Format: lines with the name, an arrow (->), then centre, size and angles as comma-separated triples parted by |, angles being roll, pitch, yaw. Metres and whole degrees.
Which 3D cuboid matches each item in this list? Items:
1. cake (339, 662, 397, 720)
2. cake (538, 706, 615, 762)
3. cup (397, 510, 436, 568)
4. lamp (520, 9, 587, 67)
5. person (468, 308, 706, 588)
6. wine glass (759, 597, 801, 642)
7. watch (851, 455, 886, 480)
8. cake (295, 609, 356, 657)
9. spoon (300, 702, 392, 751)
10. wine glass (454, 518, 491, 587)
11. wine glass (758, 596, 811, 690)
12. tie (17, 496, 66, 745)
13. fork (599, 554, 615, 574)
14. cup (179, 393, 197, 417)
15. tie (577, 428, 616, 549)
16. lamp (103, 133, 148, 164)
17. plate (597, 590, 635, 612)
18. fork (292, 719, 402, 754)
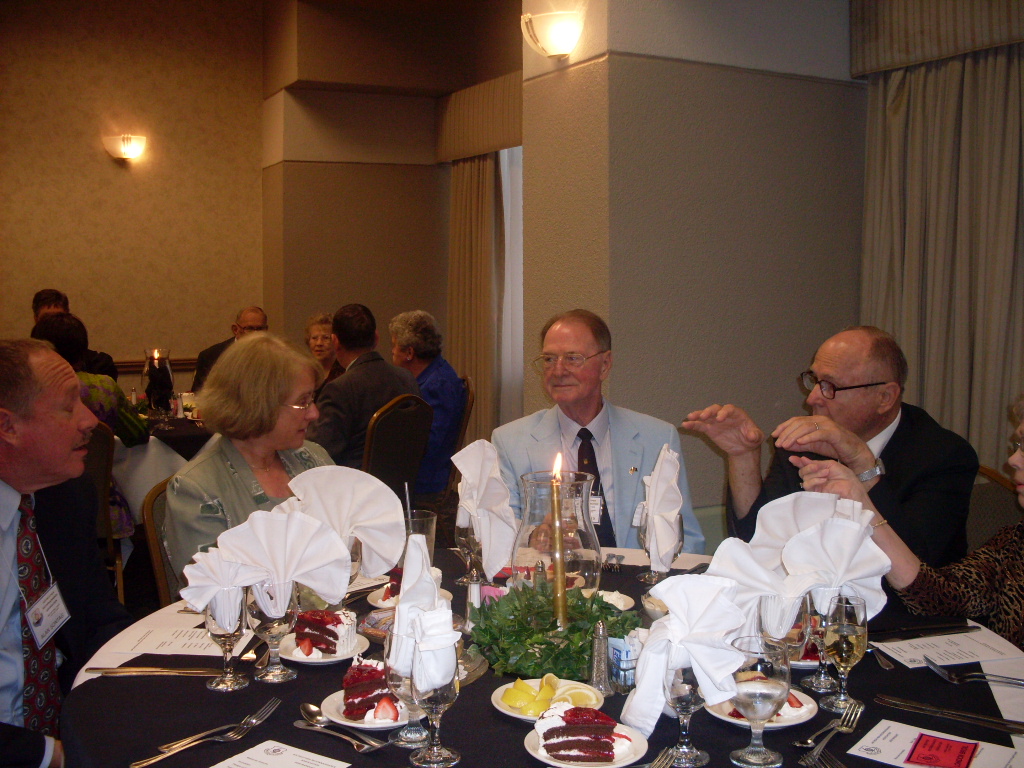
cake -> -0.300, 0.630, 1.919 | 0.109, 0.128, 0.120 | 1, 9, 2
cake -> 0.125, 0.672, 1.742 | 0.139, 0.081, 0.074 | -1, 1, -1
cup -> -0.229, 0.399, 2.339 | 0.109, 0.143, 0.113 | 1, 4, 0
lamp -> 0.219, -1.668, 4.492 | 0.251, 0.235, 0.246 | -5, 10, -5
person -> 0.286, 0.296, 3.380 | 0.810, 1.281, 0.731 | -4, -12, 6
wine glass -> 0.527, 0.476, 1.817 | 0.078, 0.097, 0.143 | 0, 1, 27
watch -> 1.053, 0.248, 2.713 | 0.074, 0.059, 0.100 | 17, -7, -30
cake -> -0.441, 0.568, 2.090 | 0.090, 0.056, 0.098 | 7, 9, 16
spoon -> -0.341, 0.697, 1.818 | 0.215, 0.037, 0.071 | 9, 18, 38
wine glass -> -0.113, 0.457, 2.381 | 0.102, 0.208, 0.129 | -2, -6, -3
wine glass -> 0.539, 0.514, 1.802 | 0.112, 0.166, 0.141 | -2, -4, 27
tie -> -1.241, 0.609, 2.384 | 0.088, 0.619, 0.213 | -2, 2, -28
fork -> 0.277, 0.524, 2.675 | 0.043, 0.044, 0.141 | 1, 9, 2
cup -> -2.032, 0.136, 5.684 | 0.118, 0.216, 0.125 | -2, -2, 0
tie -> 0.280, 0.327, 3.120 | 0.090, 0.124, 0.458 | -6, 48, -2
lamp -> -3.343, -1.988, 7.915 | 0.252, 0.224, 0.262 | 0, 0, 44
plate -> 0.261, 0.548, 2.319 | 0.098, 0.029, 0.062 | 9, 5, 33
fork -> -0.346, 0.701, 1.815 | 0.212, 0.034, 0.046 | -1, 1, 27
